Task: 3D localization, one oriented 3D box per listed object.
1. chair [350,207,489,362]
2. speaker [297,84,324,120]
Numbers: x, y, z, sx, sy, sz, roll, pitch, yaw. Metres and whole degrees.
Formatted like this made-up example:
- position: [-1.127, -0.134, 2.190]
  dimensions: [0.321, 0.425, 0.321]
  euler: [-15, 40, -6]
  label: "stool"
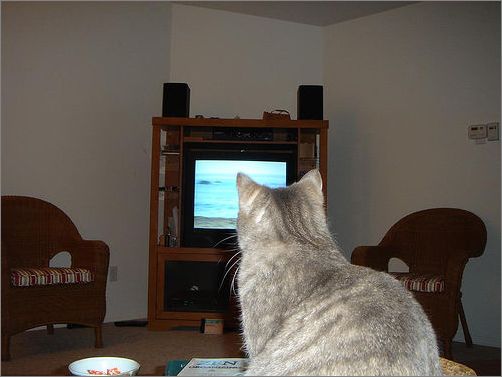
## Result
- position: [1.515, 0.781, 4.177]
  dimensions: [0.899, 1.224, 0.876]
  euler: [-3, -5, 40]
  label: "chair"
- position: [0.598, -0.877, 4.837]
  dimensions: [0.250, 0.358, 0.097]
  euler: [2, -2, 16]
  label: "speaker"
